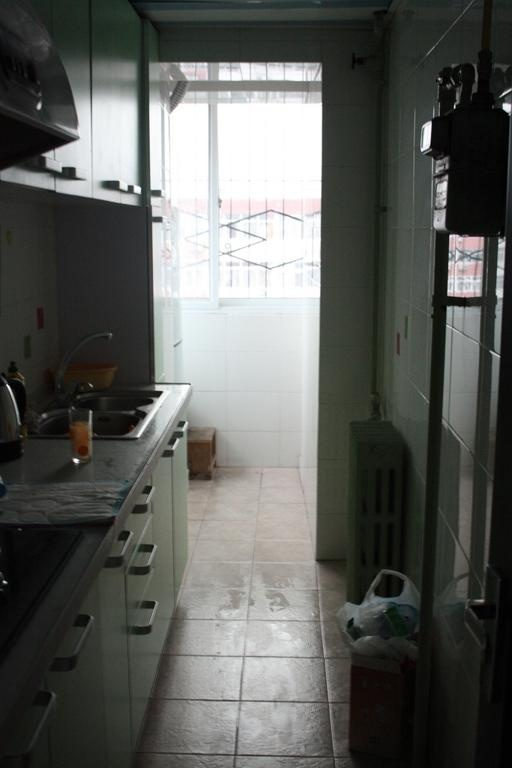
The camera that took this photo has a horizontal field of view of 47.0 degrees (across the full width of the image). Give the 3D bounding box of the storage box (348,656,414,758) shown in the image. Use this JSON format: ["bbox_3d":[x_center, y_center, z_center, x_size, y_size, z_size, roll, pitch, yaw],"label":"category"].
[{"bbox_3d":[0.377,0.973,1.767,0.188,0.348,0.067,2,7,12],"label":"storage box"}]

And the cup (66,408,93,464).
[{"bbox_3d":[-0.514,0.140,1.720,0.057,0.147,0.131,-2,8,-21],"label":"cup"}]

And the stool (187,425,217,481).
[{"bbox_3d":[-0.395,0.508,4.339,0.206,0.333,0.318,0,8,-5],"label":"stool"}]

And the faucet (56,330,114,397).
[{"bbox_3d":[-0.739,-0.102,2.553,0.223,0.227,0.428,-1,9,-14],"label":"faucet"}]

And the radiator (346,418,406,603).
[{"bbox_3d":[0.508,0.589,2.588,0.120,0.578,0.292,3,-6,0],"label":"radiator"}]
